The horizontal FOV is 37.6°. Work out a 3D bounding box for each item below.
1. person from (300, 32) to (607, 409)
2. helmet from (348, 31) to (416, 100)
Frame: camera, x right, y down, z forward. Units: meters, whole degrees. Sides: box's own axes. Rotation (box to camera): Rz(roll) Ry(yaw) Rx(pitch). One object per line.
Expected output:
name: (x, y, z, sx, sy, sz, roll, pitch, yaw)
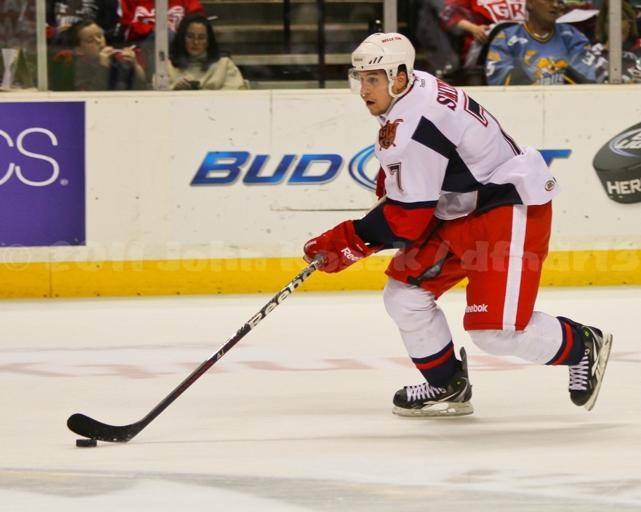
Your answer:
person: (0.533, -0.105, 3.631, 1.139, 1.478, 0.333, 2, 14, 13)
helmet: (0.248, -0.740, 3.627, 0.299, 0.229, 0.229, -1, 7, -9)
